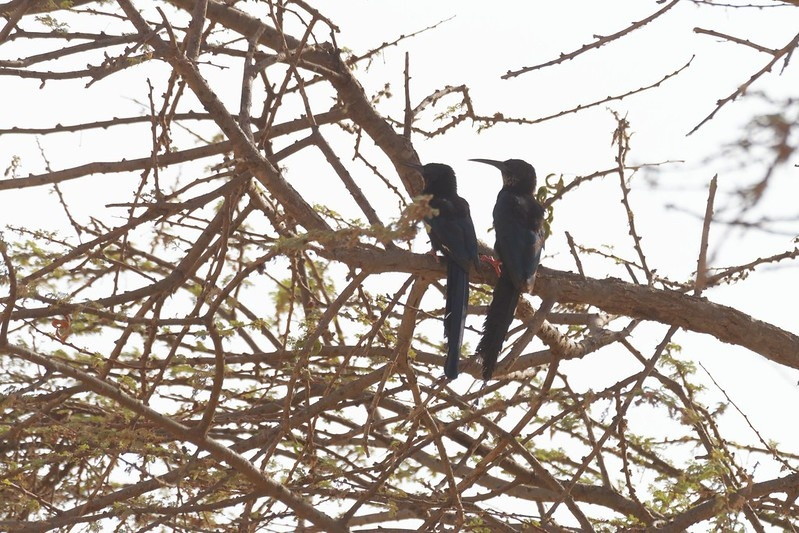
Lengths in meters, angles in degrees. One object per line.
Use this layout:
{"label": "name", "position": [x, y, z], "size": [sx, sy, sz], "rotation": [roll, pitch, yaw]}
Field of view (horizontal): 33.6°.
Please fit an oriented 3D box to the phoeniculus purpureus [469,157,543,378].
{"label": "phoeniculus purpureus", "position": [1.084, -0.148, 12.608], "size": [0.557, 2.375, 0.784], "rotation": [1, -60, 6]}
